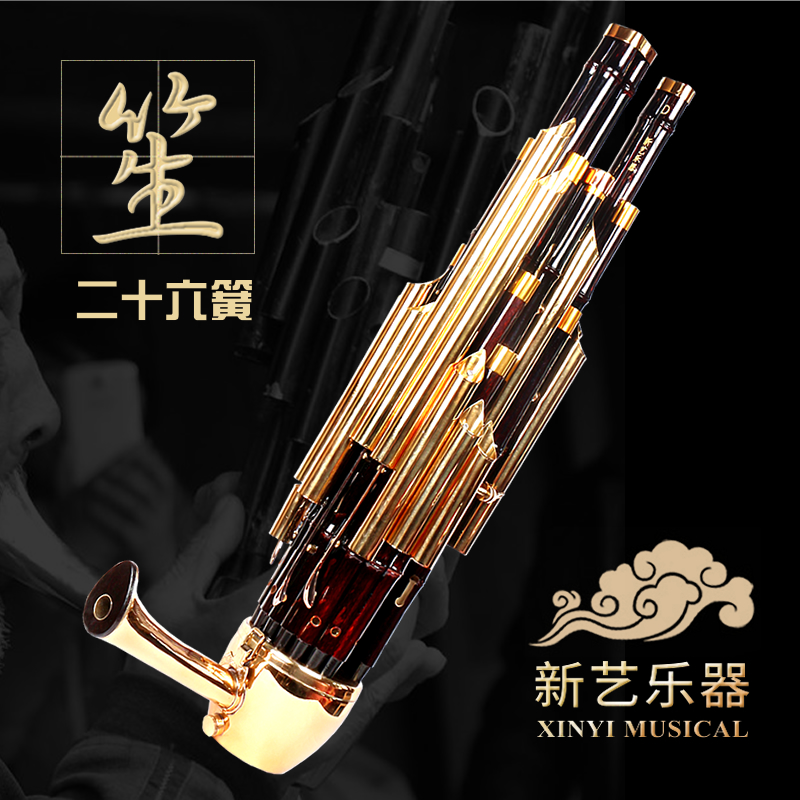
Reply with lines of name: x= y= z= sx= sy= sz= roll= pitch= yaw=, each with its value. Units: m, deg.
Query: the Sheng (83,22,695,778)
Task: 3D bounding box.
Sheng: x=0.116 y=0.031 z=1.242 sx=0.274 sy=1.040 sz=0.377 roll=40 pitch=-8 yaw=-24
